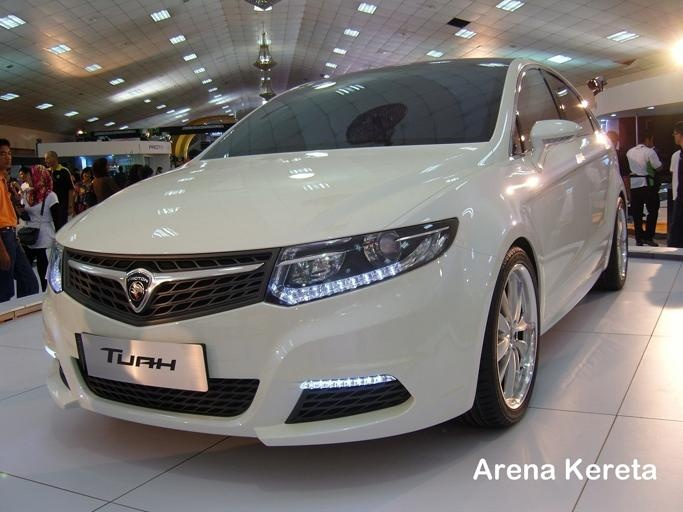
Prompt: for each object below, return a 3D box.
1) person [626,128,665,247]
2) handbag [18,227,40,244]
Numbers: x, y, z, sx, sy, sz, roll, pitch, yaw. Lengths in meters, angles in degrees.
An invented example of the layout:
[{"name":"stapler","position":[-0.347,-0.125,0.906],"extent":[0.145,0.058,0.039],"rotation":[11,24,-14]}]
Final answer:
[{"name":"person","position":[6.182,-1.349,8.416],"extent":[0.627,2.243,0.890],"rotation":[5,13,37]},{"name":"handbag","position":[-3.729,-0.249,4.849],"extent":[0.072,0.177,0.247],"rotation":[4,10,42]}]
